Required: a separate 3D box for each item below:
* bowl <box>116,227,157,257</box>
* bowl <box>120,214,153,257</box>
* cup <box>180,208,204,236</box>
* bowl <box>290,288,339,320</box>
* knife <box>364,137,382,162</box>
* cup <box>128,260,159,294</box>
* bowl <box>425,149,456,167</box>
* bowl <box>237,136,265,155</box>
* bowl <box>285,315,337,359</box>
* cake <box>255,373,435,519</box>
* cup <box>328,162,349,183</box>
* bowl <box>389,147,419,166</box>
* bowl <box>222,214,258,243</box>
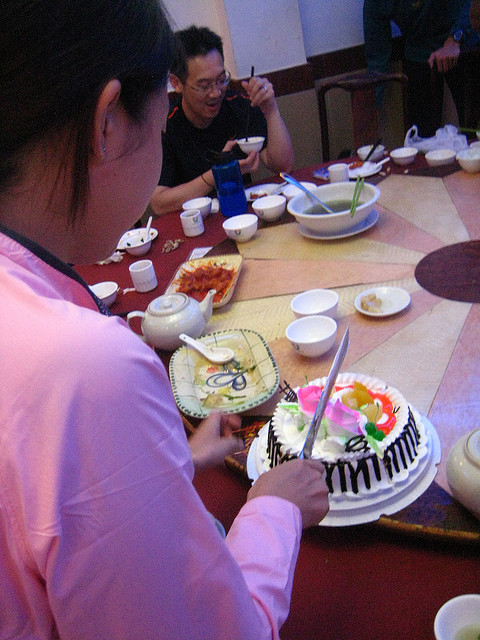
[{"bbox_3d":[-0.498,-0.363,2.237,0.151,0.084,0.301,-27,27,-21],"label":"bowl"},{"bbox_3d":[-0.460,-0.353,2.185,0.091,0.104,0.254,-2,44,23],"label":"bowl"},{"bbox_3d":[-0.223,-0.454,2.255,0.089,0.115,0.116,-13,31,-14],"label":"cup"},{"bbox_3d":[0.227,-0.054,1.428,0.127,0.094,0.160,-3,27,-10],"label":"bowl"},{"bbox_3d":[0.727,-0.927,2.539,0.072,0.069,0.263,2,33,33],"label":"knife"},{"bbox_3d":[-0.378,-0.169,1.808,0.077,0.111,0.136,-12,37,-2],"label":"cup"},{"bbox_3d":[0.986,-0.791,2.301,0.137,0.063,0.122,-8,26,20],"label":"bowl"},{"bbox_3d":[0.063,-0.978,2.644,0.139,0.091,0.123,-19,24,-7],"label":"bowl"},{"bbox_3d":[0.184,0.050,1.273,0.114,0.094,0.147,-3,29,14],"label":"bowl"},{"bbox_3d":[0.230,0.228,0.882,0.265,0.112,0.263,-31,9,-35],"label":"cake"},{"bbox_3d":[0.480,-0.700,2.275,0.068,0.101,0.119,-9,26,5],"label":"cup"},{"bbox_3d":[0.860,-0.844,2.434,0.144,0.075,0.178,-7,27,20],"label":"bowl"},{"bbox_3d":[0.001,-0.408,2.044,0.107,0.088,0.145,-10,40,15],"label":"bowl"}]
